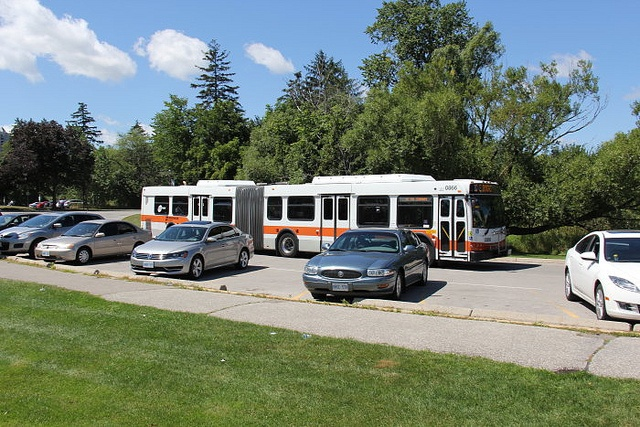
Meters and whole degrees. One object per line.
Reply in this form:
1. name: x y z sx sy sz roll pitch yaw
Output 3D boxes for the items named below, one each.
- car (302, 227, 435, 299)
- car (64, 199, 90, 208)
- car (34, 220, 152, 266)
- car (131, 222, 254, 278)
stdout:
1. car: 1.368 1.422 14.955 2.271 1.796 3.542 6 10 30
2. car: -39.365 -1.679 83.877 1.458 1.153 3.409 2 7 17
3. car: -9.001 1.091 20.990 1.904 1.459 4.411 -1 -2 30
4. car: -4.225 1.206 18.358 1.754 1.335 3.989 -1 -1 27
